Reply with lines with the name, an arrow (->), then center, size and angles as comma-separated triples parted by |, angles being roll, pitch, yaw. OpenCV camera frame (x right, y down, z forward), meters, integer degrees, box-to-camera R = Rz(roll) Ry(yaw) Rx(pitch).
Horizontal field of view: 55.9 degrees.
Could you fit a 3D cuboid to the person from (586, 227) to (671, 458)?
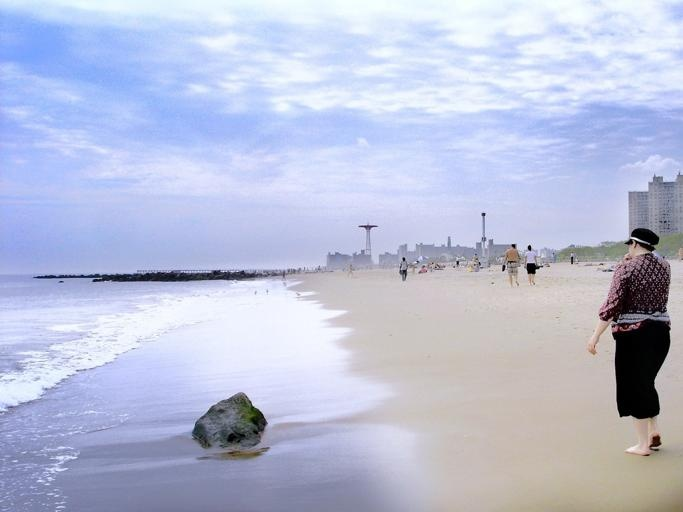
person -> 3.509, 1.011, 7.673 | 0.964, 2.640, 0.554 | -7, 8, -19
